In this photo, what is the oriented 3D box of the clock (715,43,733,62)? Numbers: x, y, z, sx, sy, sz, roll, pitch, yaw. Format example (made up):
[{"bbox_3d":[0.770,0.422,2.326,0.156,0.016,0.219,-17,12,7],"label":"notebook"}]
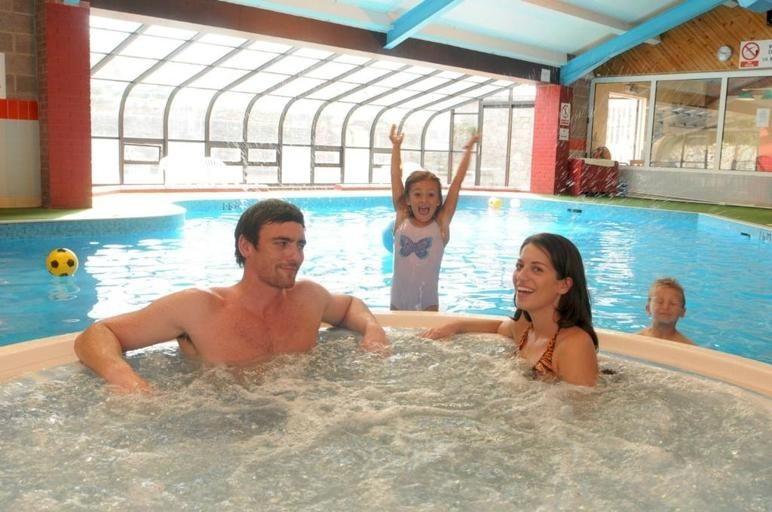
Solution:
[{"bbox_3d":[7.943,-4.801,11.876,0.092,0.343,0.353,-3,36,-37],"label":"clock"}]

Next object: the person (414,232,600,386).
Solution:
[{"bbox_3d":[0.591,0.253,2.860,0.891,1.135,0.770,2,1,-14],"label":"person"}]

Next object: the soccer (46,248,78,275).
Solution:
[{"bbox_3d":[-3.320,0.052,5.165,0.304,0.263,0.327,1,-14,-44],"label":"soccer"}]

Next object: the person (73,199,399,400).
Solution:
[{"bbox_3d":[-0.646,0.291,2.490,1.462,0.873,0.502,-2,9,-35],"label":"person"}]

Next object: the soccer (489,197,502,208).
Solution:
[{"bbox_3d":[2.605,-1.258,11.876,0.320,0.271,0.291,-1,1,-12],"label":"soccer"}]
